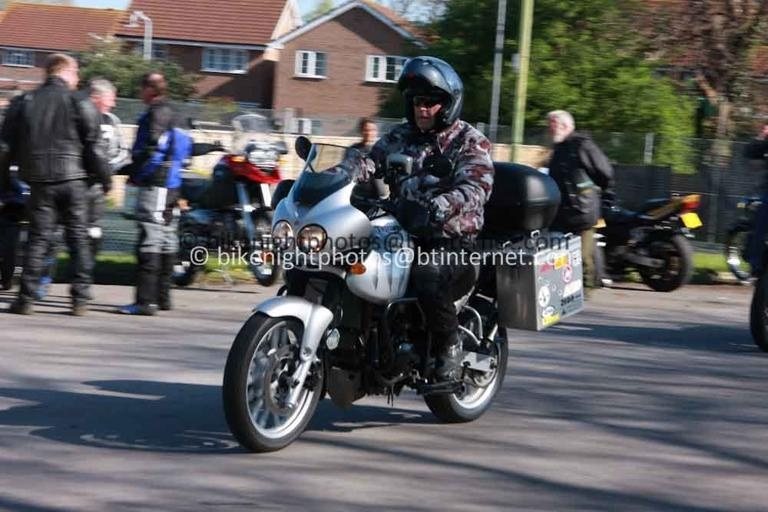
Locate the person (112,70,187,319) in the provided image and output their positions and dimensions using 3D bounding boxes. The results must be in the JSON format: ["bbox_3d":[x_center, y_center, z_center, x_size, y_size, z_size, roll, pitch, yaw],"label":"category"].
[{"bbox_3d":[-2.596,-0.701,12.757,0.677,2.779,0.382,4,3,-23],"label":"person"}]

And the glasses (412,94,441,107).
[{"bbox_3d":[0.390,-1.346,9.629,0.245,0.101,0.039,4,3,8],"label":"glasses"}]

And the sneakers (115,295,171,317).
[{"bbox_3d":[-2.758,0.589,12.845,0.634,0.210,0.200,2,-2,-3],"label":"sneakers"}]

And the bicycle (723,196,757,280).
[{"bbox_3d":[5.067,-0.262,15.939,0.373,1.270,1.446,6,19,11],"label":"bicycle"}]
